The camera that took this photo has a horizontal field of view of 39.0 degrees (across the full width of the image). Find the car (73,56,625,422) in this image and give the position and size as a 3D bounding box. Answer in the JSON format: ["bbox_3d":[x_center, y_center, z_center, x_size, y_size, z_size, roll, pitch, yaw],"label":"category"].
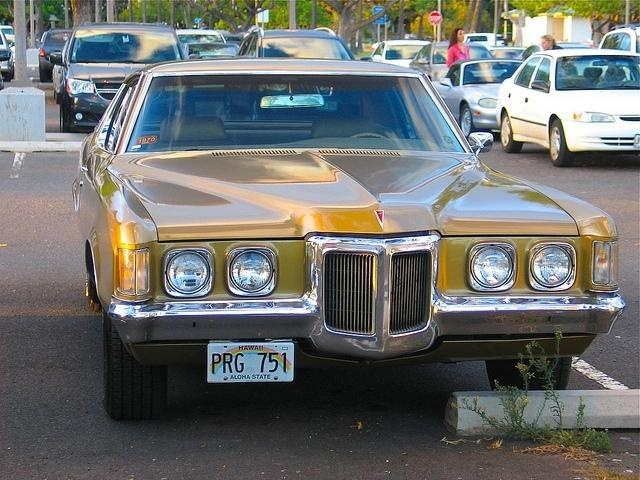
[{"bbox_3d":[0.011,-0.057,5.394,2.672,1.934,2.406,-3,14,-16],"label":"car"}]

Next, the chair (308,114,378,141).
[{"bbox_3d":[0.182,-0.742,6.032,0.360,0.112,0.186,1,1,-5],"label":"chair"}]
